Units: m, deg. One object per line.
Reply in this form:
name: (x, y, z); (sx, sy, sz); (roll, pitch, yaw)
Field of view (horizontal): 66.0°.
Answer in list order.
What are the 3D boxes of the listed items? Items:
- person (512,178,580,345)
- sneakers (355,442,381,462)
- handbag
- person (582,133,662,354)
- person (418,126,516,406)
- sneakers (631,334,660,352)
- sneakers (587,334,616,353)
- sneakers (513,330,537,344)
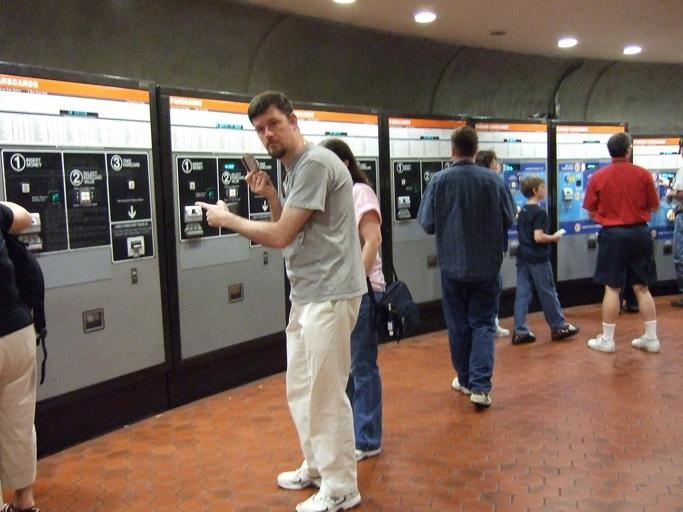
person: (2.883, 0.041, 7.490); (0.833, 2.326, 1.052); (4, 9, 33)
sneakers: (0.229, 1.704, 4.560); (0.225, 0.114, 0.085); (4, -8, -30)
handbag: (0.407, 0.341, 4.496); (0.343, 0.722, 0.473); (0, -6, -9)
person: (3.702, -0.183, 6.929); (0.904, 2.807, 0.735); (2, 8, 24)
person: (1.307, 0.123, 5.464); (0.891, 2.869, 0.545); (1, 8, 19)
sneakers: (3.988, 1.129, 6.981); (0.157, 0.211, 0.423); (-4, 8, -19)
sneakers: (3.427, 1.149, 6.954); (0.153, 0.201, 0.412); (-4, 7, -13)
sneakers: (2.579, 1.157, 7.414); (0.338, 0.182, 0.148); (-7, 12, -26)
